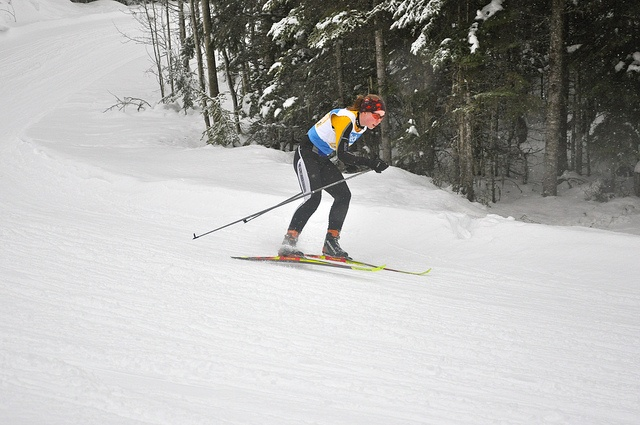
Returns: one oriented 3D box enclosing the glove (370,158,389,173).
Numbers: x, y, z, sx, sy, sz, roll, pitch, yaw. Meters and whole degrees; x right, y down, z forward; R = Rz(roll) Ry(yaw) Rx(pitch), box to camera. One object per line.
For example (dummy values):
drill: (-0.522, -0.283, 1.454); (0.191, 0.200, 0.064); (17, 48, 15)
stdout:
glove: (1.322, -1.055, 15.257); (0.368, 0.413, 0.935); (-1, 15, 6)

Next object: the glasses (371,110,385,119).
glasses: (1.309, -2.109, 14.723); (0.180, 0.182, 0.292); (12, 21, 42)

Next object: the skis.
skis: (0.114, 1.122, 15.028); (2.377, 0.258, 0.239); (5, 42, -1)
